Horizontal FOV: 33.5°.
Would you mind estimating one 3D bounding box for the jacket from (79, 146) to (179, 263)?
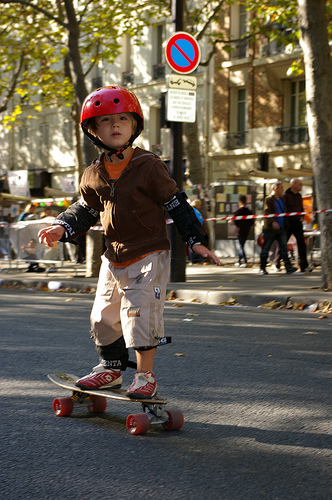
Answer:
[{"bbox_3d":[-0.198,-0.233,2.762,0.548,0.564,0.262,3,6,37],"label":"jacket"}]

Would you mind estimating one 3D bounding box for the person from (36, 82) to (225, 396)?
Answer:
[{"bbox_3d":[-0.180,-0.054,2.692,0.906,1.510,0.480,4,7,43],"label":"person"}]

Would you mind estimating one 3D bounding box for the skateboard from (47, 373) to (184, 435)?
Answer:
[{"bbox_3d":[-0.291,0.743,2.720,0.850,0.250,0.275,4,7,44],"label":"skateboard"}]

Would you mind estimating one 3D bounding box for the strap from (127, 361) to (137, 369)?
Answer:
[{"bbox_3d":[-0.167,0.568,2.745,0.051,0.044,0.013,5,1,23],"label":"strap"}]

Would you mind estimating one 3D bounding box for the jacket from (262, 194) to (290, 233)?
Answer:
[{"bbox_3d":[2.418,-0.812,12.111,0.880,0.933,0.531,-5,4,-37],"label":"jacket"}]

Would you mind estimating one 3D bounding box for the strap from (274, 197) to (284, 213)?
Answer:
[{"bbox_3d":[2.499,-0.962,12.111,0.043,0.489,0.141,-29,-32,15],"label":"strap"}]

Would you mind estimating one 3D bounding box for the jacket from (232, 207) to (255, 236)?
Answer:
[{"bbox_3d":[2.037,-0.774,14.713,0.507,0.775,0.559,-1,5,7],"label":"jacket"}]
